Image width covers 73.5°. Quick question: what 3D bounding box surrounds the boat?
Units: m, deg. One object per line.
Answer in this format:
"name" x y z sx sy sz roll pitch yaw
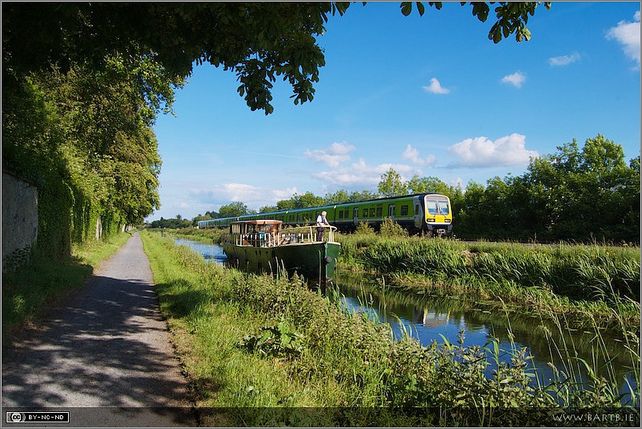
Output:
"boat" -2.304 1.965 23.070 1.917 3.419 10.657 3 -4 -32

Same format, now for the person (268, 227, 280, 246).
"person" -2.360 1.135 22.664 0.543 0.908 0.978 -1 -5 -6
